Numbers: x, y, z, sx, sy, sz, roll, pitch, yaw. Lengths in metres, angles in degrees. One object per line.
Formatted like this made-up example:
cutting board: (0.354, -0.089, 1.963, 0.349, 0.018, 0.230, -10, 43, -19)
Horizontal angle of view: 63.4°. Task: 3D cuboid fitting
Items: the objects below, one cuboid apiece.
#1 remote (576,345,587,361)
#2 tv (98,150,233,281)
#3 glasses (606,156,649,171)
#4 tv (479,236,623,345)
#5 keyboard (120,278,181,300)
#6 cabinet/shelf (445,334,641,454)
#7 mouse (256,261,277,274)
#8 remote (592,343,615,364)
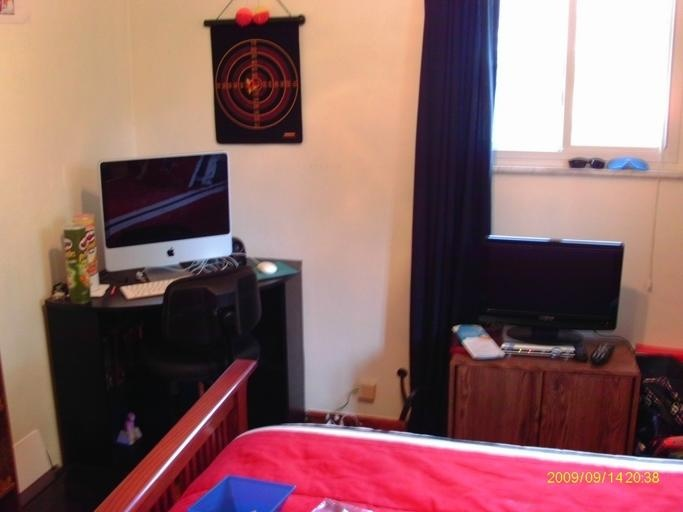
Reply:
remote: (1.131, 0.466, 2.614, 0.040, 0.012, 0.124, 10, 25, 18)
tv: (-0.889, -0.197, 2.791, 0.649, 0.555, 0.050, -5, 4, -25)
glasses: (1.451, -0.468, 2.796, 0.187, 0.073, 0.094, 3, 11, 21)
tv: (1.024, 0.164, 2.712, 0.496, 0.369, 0.138, 4, 8, 14)
keyboard: (-0.931, 0.158, 2.672, 0.245, 0.043, 0.206, -6, 11, -23)
cabinet/shelf: (0.959, 0.453, 2.663, 0.851, 0.784, 0.471, 3, 29, 7)
mouse: (-0.387, 0.049, 2.903, 0.067, 0.044, 0.078, 6, 16, -10)
remote: (1.227, 0.439, 2.602, 0.055, 0.041, 0.175, 12, 23, 32)
